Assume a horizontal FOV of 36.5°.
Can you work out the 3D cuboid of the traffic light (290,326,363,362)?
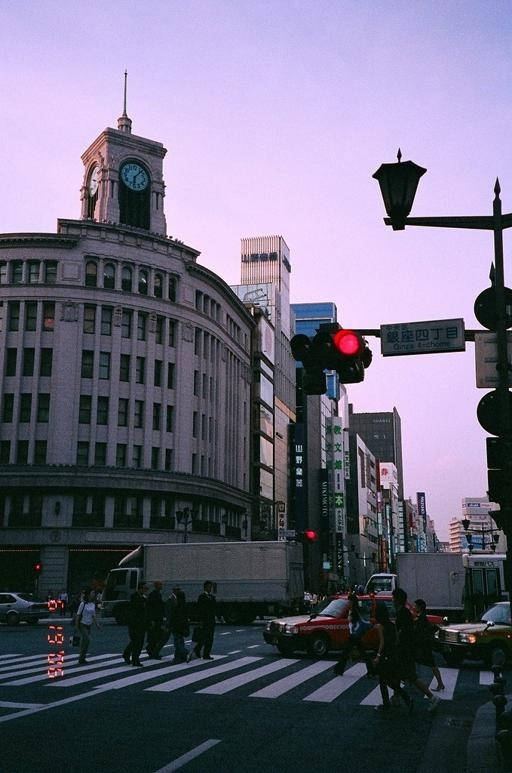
[{"bbox_3d":[0.696,-0.367,6.905,0.394,0.210,0.409,-3,-16,22],"label":"traffic light"}]

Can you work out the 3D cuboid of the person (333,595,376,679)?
[{"bbox_3d":[1.932,5.015,15.616,0.737,1.589,2.761,-4,-12,6],"label":"person"}]
